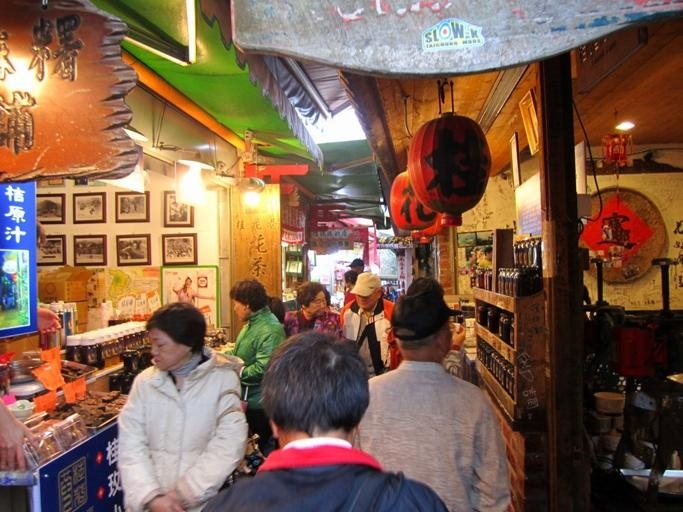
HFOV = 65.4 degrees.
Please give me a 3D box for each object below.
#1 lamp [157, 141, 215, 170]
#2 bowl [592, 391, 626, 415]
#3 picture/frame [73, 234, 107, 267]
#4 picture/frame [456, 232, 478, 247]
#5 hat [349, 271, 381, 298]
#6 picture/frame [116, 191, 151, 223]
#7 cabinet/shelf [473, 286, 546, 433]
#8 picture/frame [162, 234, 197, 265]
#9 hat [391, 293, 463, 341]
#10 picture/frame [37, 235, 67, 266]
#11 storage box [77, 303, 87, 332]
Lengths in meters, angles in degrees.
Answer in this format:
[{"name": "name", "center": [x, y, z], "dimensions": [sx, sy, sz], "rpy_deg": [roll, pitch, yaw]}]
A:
[{"name": "lamp", "center": [-1.784, -1.197, 6.022], "dimensions": [0.621, 0.219, 0.456], "rpy_deg": [3, 0, 11]}, {"name": "bowl", "center": [2.017, 1.106, 4.027], "dimensions": [0.158, 0.105, 0.168], "rpy_deg": [2, -16, 1]}, {"name": "picture/frame", "center": [-3.635, -0.098, 7.748], "dimensions": [0.450, 0.472, 0.035], "rpy_deg": [0, 0, 8]}, {"name": "picture/frame", "center": [2.063, -0.284, 8.732], "dimensions": [0.246, 0.256, 0.010], "rpy_deg": [-3, 20, 28]}, {"name": "hat", "center": [0.254, 0.288, 5.332], "dimensions": [0.191, 0.157, 0.277], "rpy_deg": [2, 6, 36]}, {"name": "picture/frame", "center": [-2.963, -0.710, 7.628], "dimensions": [0.432, 0.391, 0.041], "rpy_deg": [1, 3, 10]}, {"name": "cabinet/shelf", "center": [1.431, 0.763, 4.665], "dimensions": [0.318, 0.981, 1.668], "rpy_deg": [-2, 0, 5]}, {"name": "picture/frame", "center": [-2.337, -0.123, 7.702], "dimensions": [0.432, 0.435, 0.037], "rpy_deg": [0, 5, -1]}, {"name": "hat", "center": [0.467, 0.317, 3.108], "dimensions": [0.429, 0.231, 0.299], "rpy_deg": [-17, 16, -39]}, {"name": "picture/frame", "center": [-4.124, -0.102, 7.607], "dimensions": [0.424, 0.445, 0.032], "rpy_deg": [-1, 0, -2]}, {"name": "storage box", "center": [-3.365, 0.771, 6.910], "dimensions": [0.084, 0.393, 0.269], "rpy_deg": [0, -3, -19]}]
